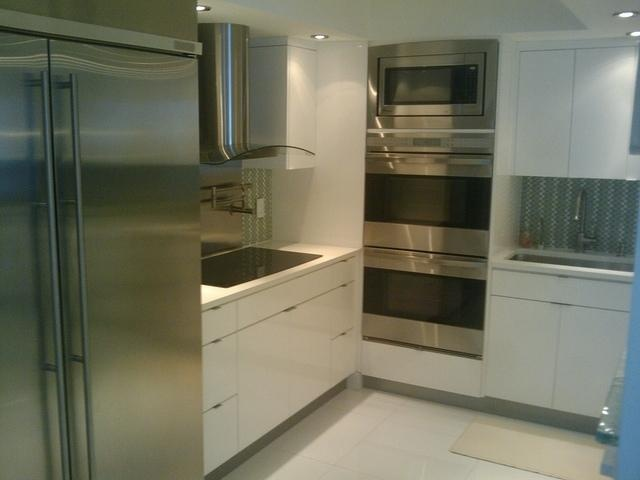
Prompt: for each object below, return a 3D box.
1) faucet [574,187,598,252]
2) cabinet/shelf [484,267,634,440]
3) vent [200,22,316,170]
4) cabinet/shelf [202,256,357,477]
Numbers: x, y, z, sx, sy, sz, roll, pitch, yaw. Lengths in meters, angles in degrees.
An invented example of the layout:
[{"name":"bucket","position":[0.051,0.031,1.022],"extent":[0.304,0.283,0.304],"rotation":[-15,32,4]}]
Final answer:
[{"name":"faucet","position":[1.953,-0.140,3.854],"extent":[0.156,0.457,0.100],"rotation":[6,14,29]},{"name":"cabinet/shelf","position":[1.481,0.664,3.252],"extent":[0.948,1.210,0.624],"rotation":[5,12,21]},{"name":"vent","position":[-0.470,-0.885,3.340],"extent":[0.711,0.844,0.844],"rotation":[9,20,17]},{"name":"cabinet/shelf","position":[-0.278,0.782,3.207],"extent":[0.377,0.723,1.140],"rotation":[1,7,26]}]
